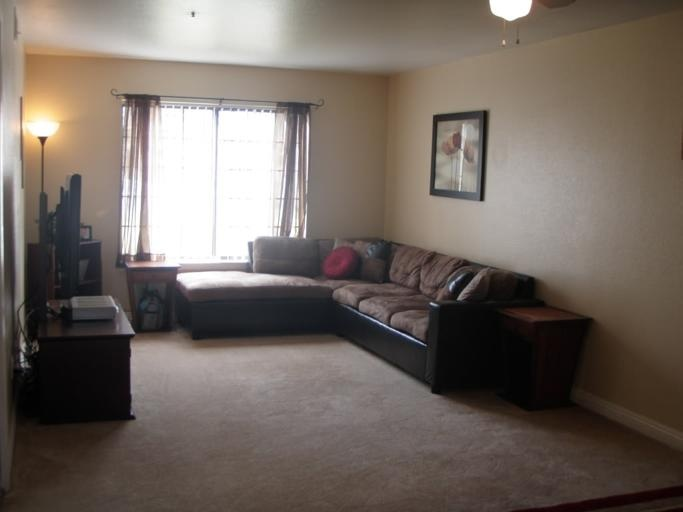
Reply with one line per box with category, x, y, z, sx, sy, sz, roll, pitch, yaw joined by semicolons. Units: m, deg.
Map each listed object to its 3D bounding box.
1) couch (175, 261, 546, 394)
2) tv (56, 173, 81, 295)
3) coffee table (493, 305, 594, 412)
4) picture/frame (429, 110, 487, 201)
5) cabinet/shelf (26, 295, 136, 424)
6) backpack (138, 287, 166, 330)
couch;0.027;0.494;5.411;3.454;0.950;1.062;7;11;27
tv;-1.951;-0.177;4.005;0.151;0.871;0.191;-2;0;-6
coffee table;1.634;0.827;4.553;0.598;0.699;0.729;3;1;-10
picture/frame;1.246;-1.069;5.784;0.041;1.078;0.926;-2;8;-22
cabinet/shelf;-1.988;0.765;4.301;0.670;0.610;1.169;1;6;-28
backpack;-2.103;0.559;6.153;0.246;0.468;0.314;6;-32;-16
